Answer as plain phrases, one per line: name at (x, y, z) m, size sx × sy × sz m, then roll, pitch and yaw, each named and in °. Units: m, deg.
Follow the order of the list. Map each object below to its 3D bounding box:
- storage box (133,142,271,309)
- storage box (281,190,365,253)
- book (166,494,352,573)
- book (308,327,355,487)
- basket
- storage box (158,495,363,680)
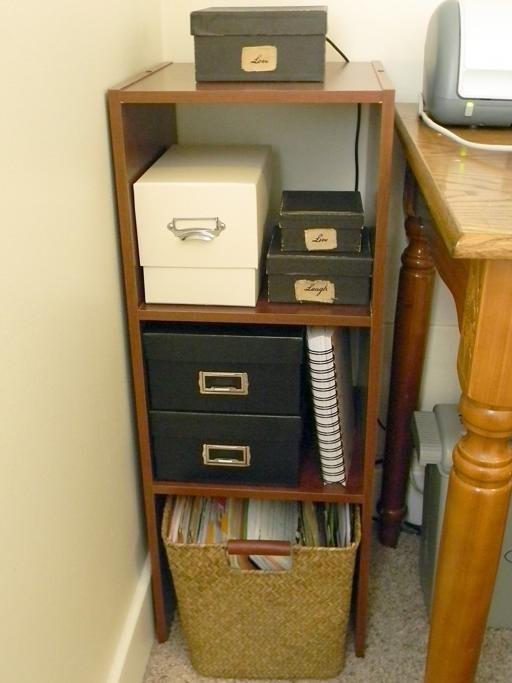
storage box at (-0.070, -0.196, 0.961) m, size 0.166 × 0.177 × 0.258 m, roll 1°, pitch 34°, yaw 4°
storage box at (0.100, -0.178, 0.971) m, size 0.114 × 0.072 × 0.113 m, roll -1°, pitch 28°, yaw 1°
book at (0.003, 0.346, 1.130) m, size 0.214 × 0.088 × 0.170 m, roll 1°, pitch 16°, yaw 0°
book at (0.126, 0.102, 1.028) m, size 0.054 × 0.222 × 0.216 m, roll -1°, pitch 13°, yaw 9°
basket at (0.014, 0.459, 1.155) m, size 0.324 × 0.329 × 0.327 m, roll 1°, pitch 22°, yaw 2°
storage box at (0.013, 0.491, 1.141) m, size 0.326 × 0.329 × 0.326 m, roll 1°, pitch 25°, yaw 2°
